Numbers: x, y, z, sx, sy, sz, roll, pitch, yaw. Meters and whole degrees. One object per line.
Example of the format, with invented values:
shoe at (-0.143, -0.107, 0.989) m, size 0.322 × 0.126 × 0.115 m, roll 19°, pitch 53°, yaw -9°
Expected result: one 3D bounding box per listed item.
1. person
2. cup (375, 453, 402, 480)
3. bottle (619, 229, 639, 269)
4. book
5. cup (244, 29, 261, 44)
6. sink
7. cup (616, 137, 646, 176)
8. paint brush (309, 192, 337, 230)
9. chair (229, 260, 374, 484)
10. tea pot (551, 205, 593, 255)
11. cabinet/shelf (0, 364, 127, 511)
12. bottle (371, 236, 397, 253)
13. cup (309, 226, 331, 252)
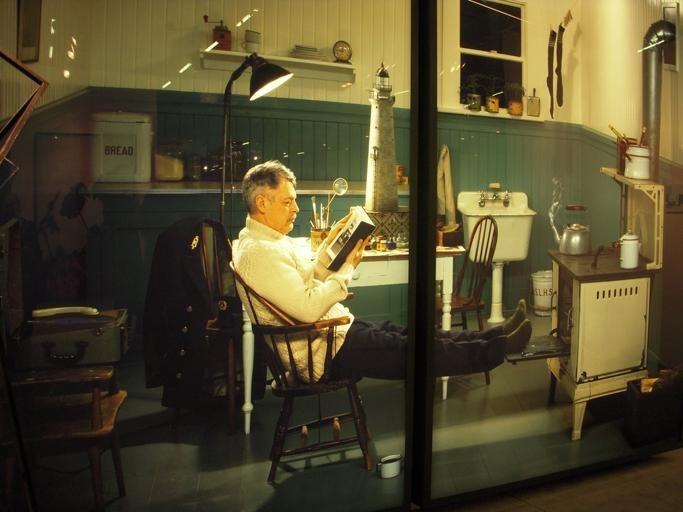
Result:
person at (0.180, 0.131, 3.228) m, size 1.421 × 0.997 × 0.666 m, roll 1°, pitch 4°, yaw -7°
cup at (0.232, 1.027, 2.970) m, size 0.133 × 0.099 × 0.071 m, roll -7°, pitch 10°, yaw -26°
bottle at (1.548, -0.029, 3.282) m, size 0.132 × 0.188 × 0.016 m, roll -3°, pitch 3°, yaw -20°
book at (-0.001, -0.094, 2.865) m, size 0.058 × 0.268 × 0.251 m, roll 30°, pitch -10°, yaw 10°
cup at (-0.395, -0.971, 2.697) m, size 0.049 × 0.043 × 0.058 m, roll -1°, pitch 26°, yaw -19°
sink at (0.751, -0.182, 3.166) m, size 0.446 × 0.479 × 0.321 m, roll 0°, pitch 0°, yaw -8°
cup at (1.575, -0.532, 3.298) m, size 0.261 × 0.193 × 0.163 m, roll -4°, pitch 5°, yaw -38°
paint brush at (-0.091, -0.195, 2.794) m, size 0.150 × 0.179 × 0.092 m, roll 1°, pitch 2°, yaw -3°
chair at (-0.140, 0.542, 3.376) m, size 0.817 × 1.350 × 0.765 m, roll -1°, pitch 3°, yaw -6°
tea pot at (1.216, -0.132, 3.191) m, size 0.259 × 0.298 × 0.181 m, roll -1°, pitch 4°, yaw 14°
cabinet/shelf at (-1.197, 0.783, 2.970) m, size 0.496 × 0.736 × 0.546 m, roll -1°, pitch 3°, yaw 0°
bottle at (0.206, -0.055, 2.872) m, size 0.099 × 0.069 × 0.066 m, roll -1°, pitch 5°, yaw -7°
cup at (-0.107, -0.088, 2.845) m, size 0.083 × 0.098 × 0.092 m, roll -8°, pitch 13°, yaw -44°
